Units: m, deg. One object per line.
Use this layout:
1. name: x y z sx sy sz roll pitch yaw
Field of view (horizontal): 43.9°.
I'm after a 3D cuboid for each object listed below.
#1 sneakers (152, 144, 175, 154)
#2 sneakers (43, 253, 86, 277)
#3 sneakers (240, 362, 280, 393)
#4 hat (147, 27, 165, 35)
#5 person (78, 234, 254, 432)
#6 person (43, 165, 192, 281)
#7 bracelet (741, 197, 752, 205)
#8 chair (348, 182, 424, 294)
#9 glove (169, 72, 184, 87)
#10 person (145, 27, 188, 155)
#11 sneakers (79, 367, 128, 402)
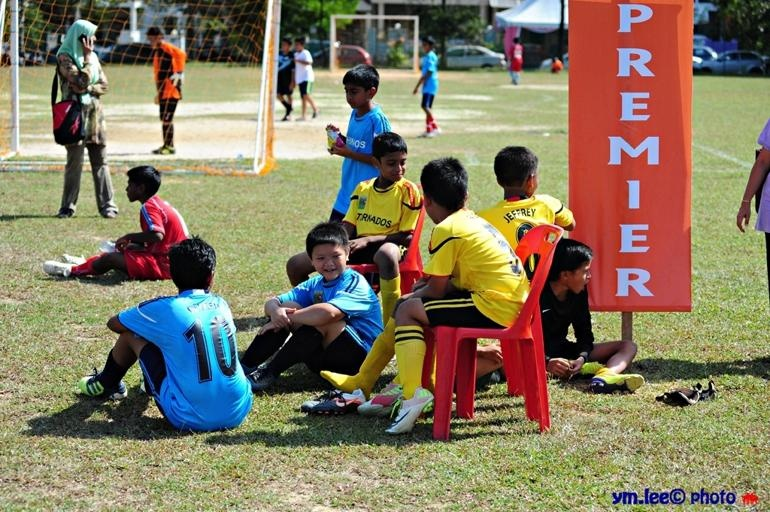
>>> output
1. sneakers: -3.579 -1.736 15.435 0.326 0.223 0.151 4 3 11
2. sneakers: -3.184 0.083 9.465 0.500 0.192 0.223 -7 -17 -36
3. sneakers: -0.988 0.958 7.538 0.351 0.158 0.127 4 43 -49
4. hat: -3.614 -3.558 15.051 0.190 0.170 0.212 15 4 0
5. person: -1.577 0.565 7.107 1.122 1.392 0.379 5 9 22
6. person: -2.477 -0.381 9.882 1.638 1.332 0.999 1 8 -1
7. bracelet: 3.032 -0.467 7.979 0.056 0.084 0.057 5 6 -22
8. chair: -0.062 -0.152 8.426 0.759 1.043 0.667 8 13 30
9. glove: -3.322 -2.805 15.207 0.187 0.197 0.245 -2 43 -9
10. person: -3.558 -2.698 15.481 0.565 2.040 0.993 0 9 -12
11. sneakers: -2.197 1.013 7.441 0.364 0.168 0.182 10 19 -9
